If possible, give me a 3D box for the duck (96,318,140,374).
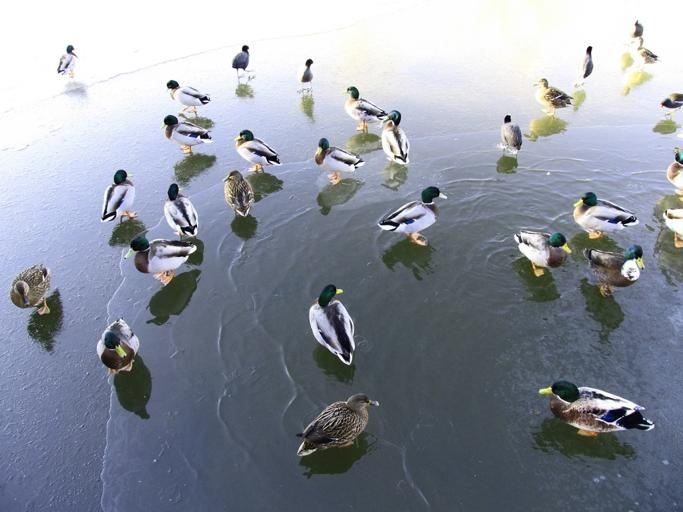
[{"bbox_3d":[-5.708,2.350,15.592,1.083,1.279,1.128,1,16,-5],"label":"duck"}]

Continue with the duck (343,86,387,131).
[{"bbox_3d":[0.736,-5.735,23.115,1.511,1.833,1.386,-6,30,-17],"label":"duck"}]

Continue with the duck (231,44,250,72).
[{"bbox_3d":[-4.701,-9.110,27.992,0.827,1.299,1.005,-11,42,-3],"label":"duck"}]

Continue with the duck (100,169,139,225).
[{"bbox_3d":[-7.028,-1.715,19.133,0.955,1.260,1.819,14,52,2],"label":"duck"}]

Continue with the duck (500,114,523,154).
[{"bbox_3d":[5.700,-4.237,21.009,0.707,0.967,1.525,-2,51,11],"label":"duck"}]

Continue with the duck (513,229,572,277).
[{"bbox_3d":[5.368,-0.138,17.174,1.477,1.241,1.694,8,17,4],"label":"duck"}]

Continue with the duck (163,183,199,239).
[{"bbox_3d":[-4.938,-1.327,18.507,0.874,1.210,1.825,-21,54,-12],"label":"duck"}]

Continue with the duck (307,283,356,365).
[{"bbox_3d":[-0.241,1.763,15.212,0.991,0.988,1.866,-15,42,-7],"label":"duck"}]

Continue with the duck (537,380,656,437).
[{"bbox_3d":[6.017,3.568,14.502,2.444,1.096,1.109,3,8,17],"label":"duck"}]

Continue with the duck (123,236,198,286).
[{"bbox_3d":[-5.130,0.142,17.161,2.048,1.352,1.057,-22,36,-29],"label":"duck"}]

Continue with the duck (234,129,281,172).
[{"bbox_3d":[-2.902,-3.557,20.780,1.583,1.214,0.760,22,50,29],"label":"duck"}]

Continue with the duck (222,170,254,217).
[{"bbox_3d":[-3.303,-2.025,19.165,0.782,0.984,1.555,-11,51,-9],"label":"duck"}]

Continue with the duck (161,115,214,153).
[{"bbox_3d":[-5.649,-4.456,22.015,1.578,1.343,0.709,5,44,14],"label":"duck"}]

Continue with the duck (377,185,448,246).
[{"bbox_3d":[2.148,-1.053,17.791,1.948,1.245,1.061,-23,44,-17],"label":"duck"}]

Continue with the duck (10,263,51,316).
[{"bbox_3d":[-8.565,0.871,16.769,1.009,1.441,0.972,-2,24,-16],"label":"duck"}]

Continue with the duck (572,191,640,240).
[{"bbox_3d":[7.546,-1.150,17.452,1.562,1.284,0.592,4,43,13],"label":"duck"}]
